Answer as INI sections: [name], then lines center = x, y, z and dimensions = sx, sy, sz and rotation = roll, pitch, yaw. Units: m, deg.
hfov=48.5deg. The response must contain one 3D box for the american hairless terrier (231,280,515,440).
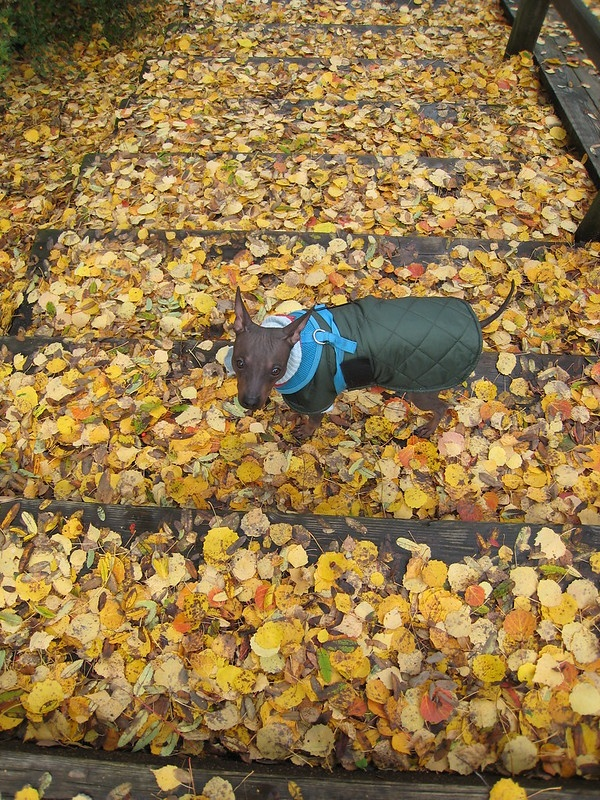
[american hairless terrier]
center = 0.275, -0.189, 2.786
dimensions = 1.285, 0.671, 0.402
rotation = -10, 52, -19

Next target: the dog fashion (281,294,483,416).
[dog fashion]
center = 0.338, -0.189, 2.728
dimensions = 0.733, 0.252, 0.425
rotation = -3, 64, 7
